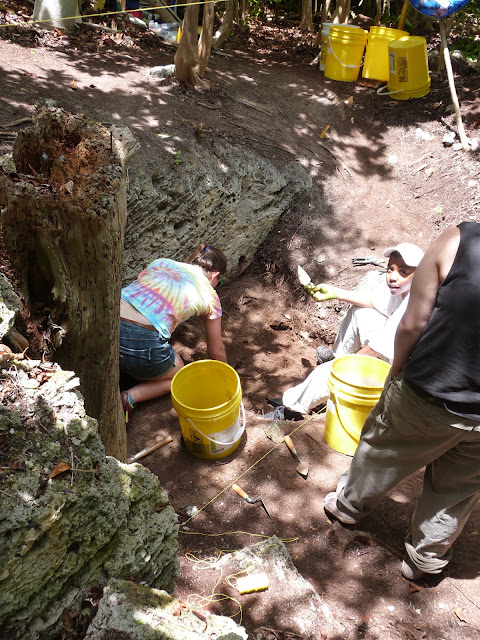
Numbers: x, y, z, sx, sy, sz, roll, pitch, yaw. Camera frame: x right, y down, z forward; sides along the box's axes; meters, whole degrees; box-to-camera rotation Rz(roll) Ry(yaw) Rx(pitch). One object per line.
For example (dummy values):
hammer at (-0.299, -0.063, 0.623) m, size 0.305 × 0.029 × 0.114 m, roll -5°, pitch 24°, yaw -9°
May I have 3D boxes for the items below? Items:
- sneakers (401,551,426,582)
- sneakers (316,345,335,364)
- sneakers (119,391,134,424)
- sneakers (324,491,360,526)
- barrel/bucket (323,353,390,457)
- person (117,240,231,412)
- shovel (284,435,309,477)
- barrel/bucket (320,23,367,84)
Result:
sneakers at (0.772, 1.103, 2.356) m, size 0.092 × 0.109 × 0.117 m, roll 9°, pitch 6°, yaw -3°
sneakers at (0.703, 0.286, 4.295) m, size 0.094 × 0.228 × 0.099 m, roll 12°, pitch -4°, yaw 2°
sneakers at (-0.723, 0.566, 3.353) m, size 0.063 × 0.180 × 0.135 m, roll 4°, pitch 6°, yaw -9°
sneakers at (0.482, 0.903, 2.573) m, size 0.110 × 0.084 × 0.183 m, roll -21°, pitch 67°, yaw -38°
barrel/bucket at (0.621, 0.460, 2.779) m, size 0.394 × 0.415 × 0.391 m, roll 7°, pitch 30°, yaw -4°
person at (-0.466, 0.062, 3.508) m, size 0.692 × 0.911 × 0.816 m, roll 40°, pitch 45°, yaw 9°
shovel at (0.320, 0.781, 2.985) m, size 0.062 × 0.042 × 0.244 m, roll -17°, pitch 30°, yaw -5°
barrel/bucket at (1.330, -3.469, 6.805) m, size 0.554 × 0.646 × 0.544 m, roll 7°, pitch 27°, yaw -4°
